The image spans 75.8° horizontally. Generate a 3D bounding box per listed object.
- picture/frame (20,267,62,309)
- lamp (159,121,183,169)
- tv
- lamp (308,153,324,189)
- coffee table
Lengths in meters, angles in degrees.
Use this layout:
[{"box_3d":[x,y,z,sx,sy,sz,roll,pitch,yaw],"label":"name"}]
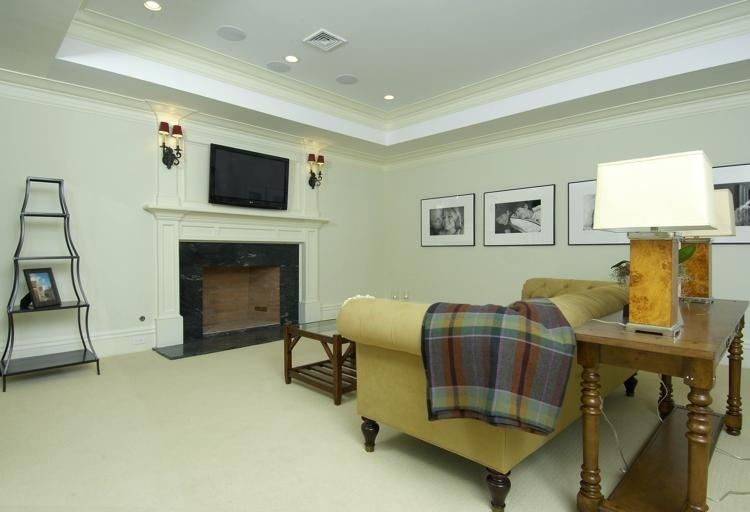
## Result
[{"box_3d":[-3.548,0.343,5.091,0.340,0.585,0.152,-8,-18,-47],"label":"picture/frame"},{"box_3d":[-2.544,-1.364,6.044,0.273,0.558,0.249,-6,14,-21],"label":"lamp"},{"box_3d":[-1.761,-1.073,6.593,1.049,0.732,0.076,1,3,-43],"label":"tv"},{"box_3d":[-0.892,-1.304,7.397,0.258,0.539,0.301,-2,13,-7],"label":"lamp"},{"box_3d":[-0.461,1.033,4.836,0.609,0.530,0.766,1,2,-40],"label":"coffee table"}]
